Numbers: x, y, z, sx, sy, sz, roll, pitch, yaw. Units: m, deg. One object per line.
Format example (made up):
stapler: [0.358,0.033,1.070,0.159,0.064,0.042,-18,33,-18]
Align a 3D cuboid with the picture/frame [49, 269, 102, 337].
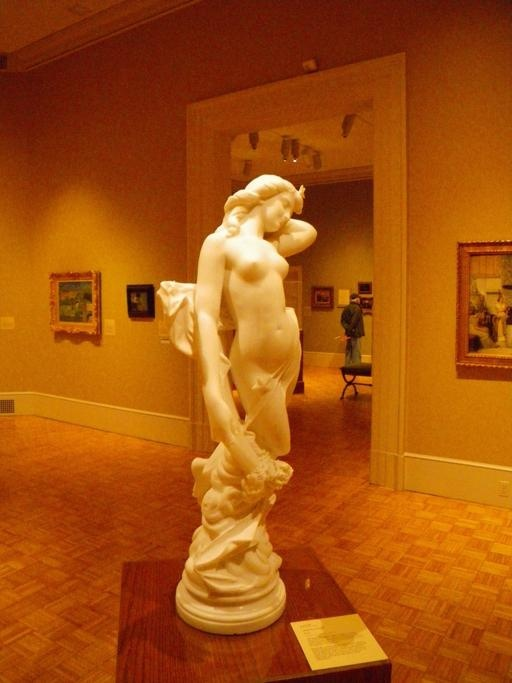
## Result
picture/frame: [-2.363,-0.513,7.089,0.785,0.827,0.074,2,5,17]

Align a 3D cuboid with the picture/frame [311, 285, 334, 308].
picture/frame: [1.587,-1.055,12.648,0.485,0.526,0.056,3,4,35]

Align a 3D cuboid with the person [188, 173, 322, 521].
person: [-0.025,-0.073,2.159,0.337,1.249,0.653,1,2,25]

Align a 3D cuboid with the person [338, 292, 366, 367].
person: [1.975,-0.239,11.044,0.431,1.440,0.755,1,2,10]
